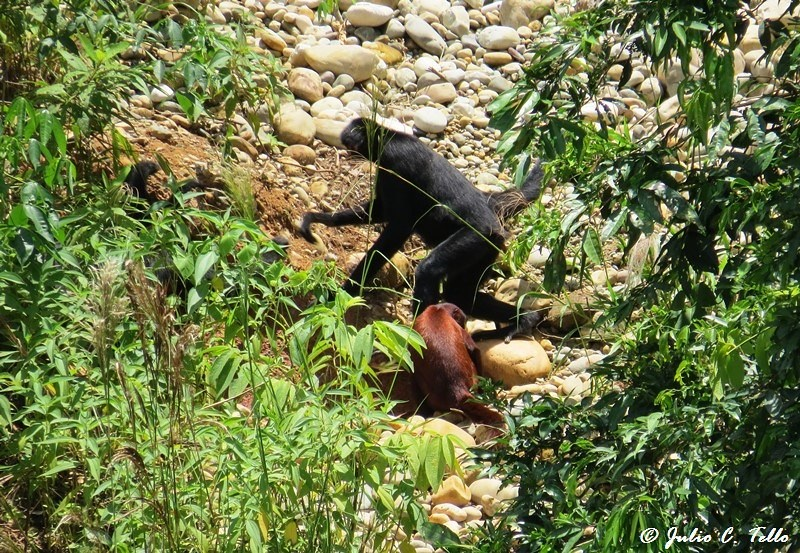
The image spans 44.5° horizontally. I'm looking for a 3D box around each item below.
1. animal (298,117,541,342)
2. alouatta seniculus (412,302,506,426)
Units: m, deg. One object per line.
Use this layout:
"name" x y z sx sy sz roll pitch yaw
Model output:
"animal" 0.130 -0.200 4.449 1.131 1.050 0.460 2 0 -5
"alouatta seniculus" 0.191 0.331 4.047 0.210 0.292 0.670 -1 56 -20
